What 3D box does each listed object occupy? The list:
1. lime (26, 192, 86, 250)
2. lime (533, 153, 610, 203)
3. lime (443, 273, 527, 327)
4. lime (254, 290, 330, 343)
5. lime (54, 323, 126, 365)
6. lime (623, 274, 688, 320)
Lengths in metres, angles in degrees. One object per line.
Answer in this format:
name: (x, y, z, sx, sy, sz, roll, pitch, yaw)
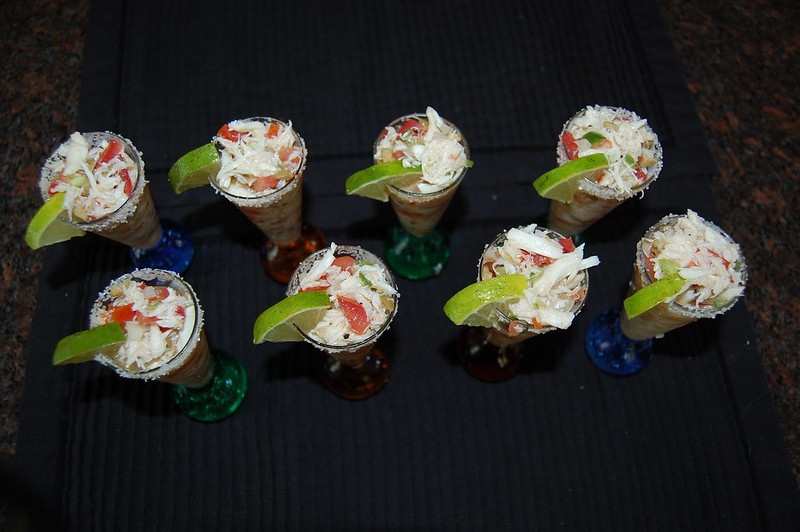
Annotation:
lime: (-1.676, -0.193, 3.082, 0.263, 0.276, 0.067, -44, 63, -7)
lime: (0.843, -0.420, 3.187, 0.348, 0.265, 0.127, -15, 65, -12)
lime: (0.411, 0.163, 2.974, 0.404, 0.223, 0.157, -16, 65, -13)
lime: (-0.468, 0.258, 2.903, 0.411, 0.222, 0.112, -16, 33, 21)
lime: (-1.406, 0.375, 2.982, 0.312, 0.279, 0.119, -15, 65, -12)
lime: (1.183, 0.171, 3.079, 0.272, 0.309, 0.111, -19, 66, -14)
